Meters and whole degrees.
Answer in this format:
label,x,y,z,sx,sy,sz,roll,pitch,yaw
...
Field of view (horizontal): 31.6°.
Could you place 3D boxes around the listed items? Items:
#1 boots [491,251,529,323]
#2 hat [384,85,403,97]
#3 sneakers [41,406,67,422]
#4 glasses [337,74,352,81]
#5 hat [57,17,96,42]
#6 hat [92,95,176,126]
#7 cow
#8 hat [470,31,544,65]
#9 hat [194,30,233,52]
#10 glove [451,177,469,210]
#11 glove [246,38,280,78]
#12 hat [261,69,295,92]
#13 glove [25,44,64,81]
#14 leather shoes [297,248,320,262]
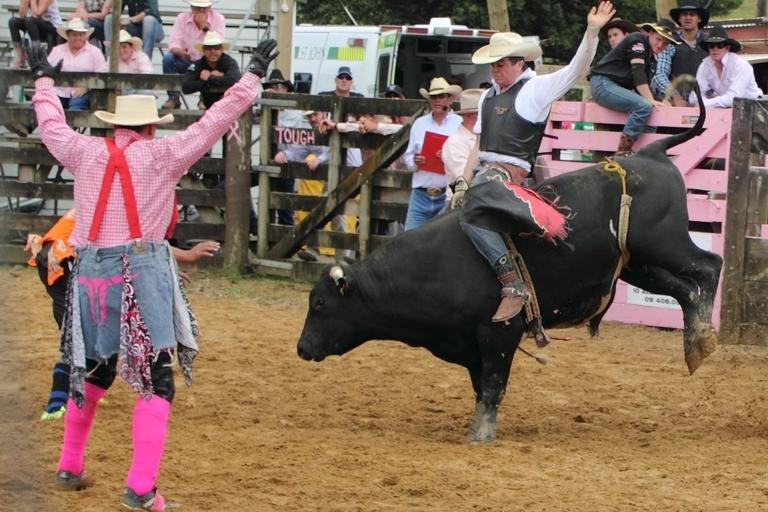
label,x,y,z,sx,sy,sz,roll,pitch,yaw
boots,1.094,0.269,11.567,0.318,0.617,0.216,4,14,-2
hat,0.132,-2.258,18.393,0.213,0.140,0.308,-3,-11,9
sneakers,-2.695,1.292,11.095,0.181,0.141,0.056,2,14,-26
glasses,-0.473,-2.218,16.781,0.109,0.065,0.164,8,5,-3
hat,-3.924,-2.915,17.384,0.526,0.208,0.560,-3,-8,-12
hat,-2.009,-1.181,10.920,0.551,0.265,0.448,1,13,-14
cow,1.223,0.316,11.860,3.545,2.498,0.792,1,15,-13
hat,1.216,-1.831,11.938,0.554,0.190,0.425,-7,6,-33
hat,-1.970,-2.502,15.764,0.391,0.149,0.414,-3,-4,-4
glove,0.678,-0.570,12.219,0.146,0.263,0.174,15,-16,-22
glove,-0.974,-1.612,11.038,0.232,0.319,0.447,3,13,-5
hat,-1.329,-2.240,17.027,0.301,0.149,0.392,-8,-4,1
glove,-2.774,-1.597,11.102,0.285,0.281,0.377,1,14,-14
leather shoes,-0.909,-0.014,16.562,0.242,0.079,0.150,19,-12,-33
